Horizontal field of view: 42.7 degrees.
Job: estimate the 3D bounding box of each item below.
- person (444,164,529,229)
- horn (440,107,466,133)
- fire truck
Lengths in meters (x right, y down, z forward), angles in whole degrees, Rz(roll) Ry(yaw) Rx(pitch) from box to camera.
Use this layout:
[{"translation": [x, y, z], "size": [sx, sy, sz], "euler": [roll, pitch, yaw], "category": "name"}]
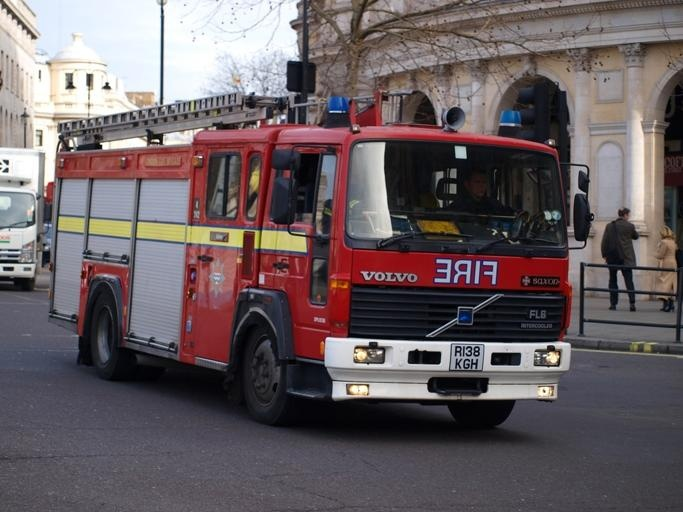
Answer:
[{"translation": [1.429, -0.512, 8.836], "size": [0.922, 0.782, 0.552], "euler": [2, -4, -10], "category": "person"}, {"translation": [1.175, -1.440, 9.222], "size": [0.182, 0.189, 0.298], "euler": [-10, 0, -9], "category": "horn"}, {"translation": [-0.801, -0.034, 11.234], "size": [3.381, 3.169, 7.067], "euler": [2, -2, -34], "category": "fire truck"}]
